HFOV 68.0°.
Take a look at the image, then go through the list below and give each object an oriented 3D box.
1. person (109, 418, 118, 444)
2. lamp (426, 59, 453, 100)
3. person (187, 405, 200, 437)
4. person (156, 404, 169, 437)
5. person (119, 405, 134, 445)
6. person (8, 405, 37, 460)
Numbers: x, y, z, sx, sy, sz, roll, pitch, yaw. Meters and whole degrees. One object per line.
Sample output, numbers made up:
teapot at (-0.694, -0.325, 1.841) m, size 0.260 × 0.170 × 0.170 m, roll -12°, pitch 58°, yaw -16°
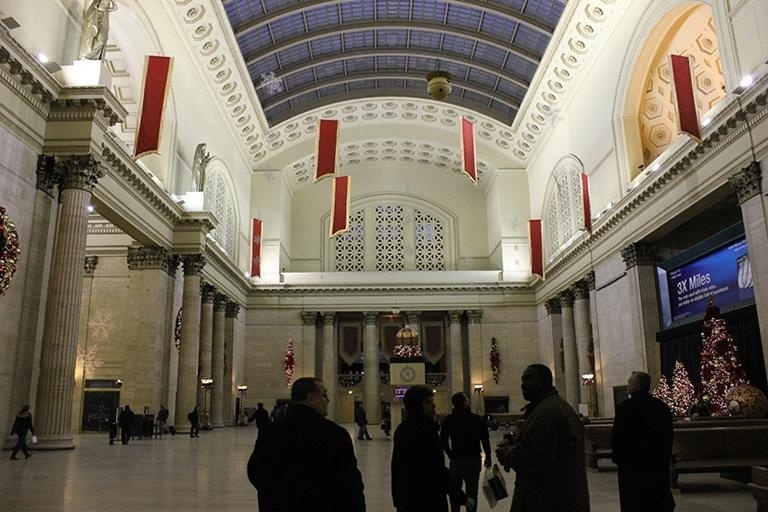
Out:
person at (-9.788, 6.439, 20.584) m, size 0.223 × 0.753 × 1.371 m, roll 9°, pitch -22°, yaw -24°
lamp at (1.959, -5.701, 19.574) m, size 0.720 × 0.730 × 0.688 m, roll 14°, pitch 20°, yaw 37°
person at (-8.388, 7.282, 25.078) m, size 0.462 × 1.405 × 2.292 m, roll 7°, pitch -21°, yaw -19°
person at (-9.525, 7.053, 24.444) m, size 0.428 × 1.275 × 0.630 m, roll 8°, pitch -21°, yaw -21°
person at (-9.521, 6.200, 20.979) m, size 0.457 × 1.467 × 1.831 m, roll 9°, pitch -22°, yaw -23°
person at (-9.745, 4.765, 15.405) m, size 0.540 × 1.399 × 1.366 m, roll 11°, pitch -23°, yaw -28°
